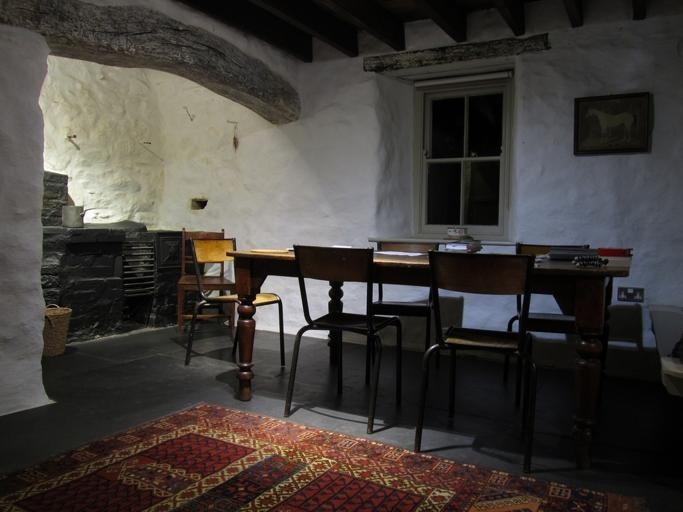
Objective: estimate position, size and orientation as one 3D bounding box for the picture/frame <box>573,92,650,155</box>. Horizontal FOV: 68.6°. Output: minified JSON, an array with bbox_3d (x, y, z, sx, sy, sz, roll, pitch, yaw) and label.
[{"bbox_3d":[2.133,-1.037,3.909,0.538,0.449,0.058,1,6,27],"label":"picture/frame"}]

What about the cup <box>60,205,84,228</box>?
[{"bbox_3d":[-2.542,-0.368,4.722,0.222,0.189,0.166,0,0,16],"label":"cup"}]

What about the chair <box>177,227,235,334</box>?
[{"bbox_3d":[-1.254,0.166,4.806,0.443,0.632,0.383,4,23,-13],"label":"chair"}]

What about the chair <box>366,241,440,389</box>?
[{"bbox_3d":[0.456,0.166,3.718,0.409,0.569,0.425,-10,32,-17],"label":"chair"}]

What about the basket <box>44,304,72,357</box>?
[{"bbox_3d":[-2.463,0.639,4.326,0.214,0.371,0.374,-3,9,-28],"label":"basket"}]
